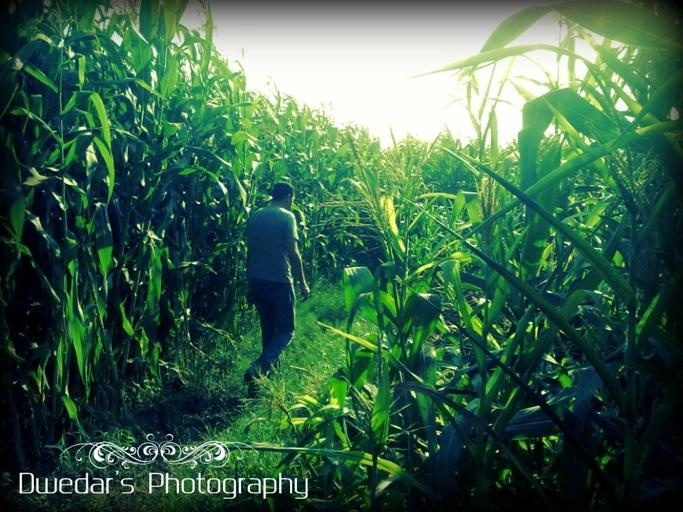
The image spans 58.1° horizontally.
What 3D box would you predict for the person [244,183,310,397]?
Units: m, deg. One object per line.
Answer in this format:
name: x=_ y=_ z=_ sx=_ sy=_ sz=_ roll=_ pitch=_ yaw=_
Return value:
person: x=-0.576 y=0.198 z=4.718 sx=0.437 sy=1.605 sz=0.819 roll=0 pitch=-4 yaw=15
